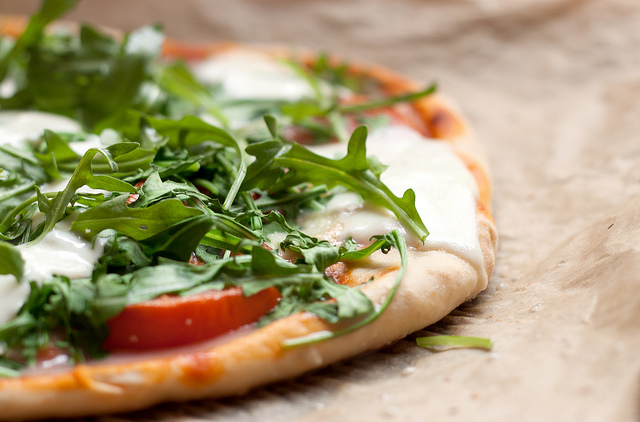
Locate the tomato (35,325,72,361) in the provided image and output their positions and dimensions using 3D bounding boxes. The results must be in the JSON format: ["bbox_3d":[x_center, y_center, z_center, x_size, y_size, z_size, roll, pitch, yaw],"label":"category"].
[{"bbox_3d":[-0.659,0.331,1.488,0.081,0.097,0.054,10,43,-21],"label":"tomato"}]
